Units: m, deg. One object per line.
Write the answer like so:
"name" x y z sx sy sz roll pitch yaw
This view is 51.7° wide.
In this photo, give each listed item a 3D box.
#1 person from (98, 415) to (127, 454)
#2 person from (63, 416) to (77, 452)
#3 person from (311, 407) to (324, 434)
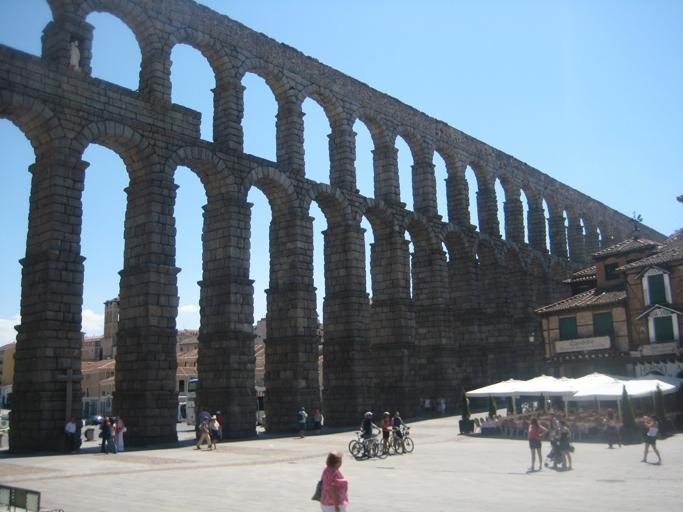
"person" -9.457 7.375 29.240 0.923 1.552 1.574 1 -19 -18
"person" -11.223 7.442 29.259 0.487 1.357 0.840 0 -19 -16
"person" -1.281 8.803 37.751 0.461 1.321 0.795 -2 -18 -11
